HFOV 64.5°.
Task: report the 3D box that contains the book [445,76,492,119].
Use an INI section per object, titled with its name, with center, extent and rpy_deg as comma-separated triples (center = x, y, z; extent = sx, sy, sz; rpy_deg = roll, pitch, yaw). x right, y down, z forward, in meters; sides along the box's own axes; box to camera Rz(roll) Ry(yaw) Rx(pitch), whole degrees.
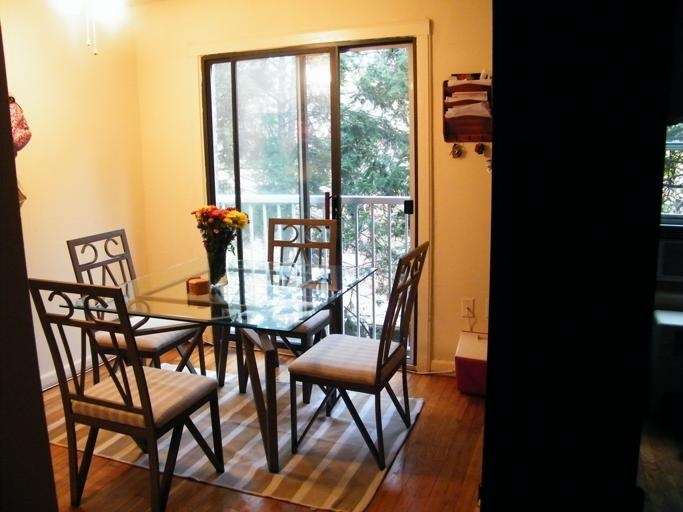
[book]
center = 0.579, -0.734, 2.496
extent = 0.117, 0.193, 0.299
rpy_deg = -12, 15, -43

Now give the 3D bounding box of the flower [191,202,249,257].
[flower]
center = -0.609, -0.112, 2.660
extent = 0.249, 0.265, 0.261
rpy_deg = 4, 7, 23

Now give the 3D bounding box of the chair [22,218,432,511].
[chair]
center = -0.512, 0.510, 2.331
extent = 1.294, 0.847, 1.278
rpy_deg = 1, 10, 16

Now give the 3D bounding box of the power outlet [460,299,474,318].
[power outlet]
center = 0.752, 0.311, 3.247
extent = 0.102, 0.148, 0.027
rpy_deg = 2, 6, 19
